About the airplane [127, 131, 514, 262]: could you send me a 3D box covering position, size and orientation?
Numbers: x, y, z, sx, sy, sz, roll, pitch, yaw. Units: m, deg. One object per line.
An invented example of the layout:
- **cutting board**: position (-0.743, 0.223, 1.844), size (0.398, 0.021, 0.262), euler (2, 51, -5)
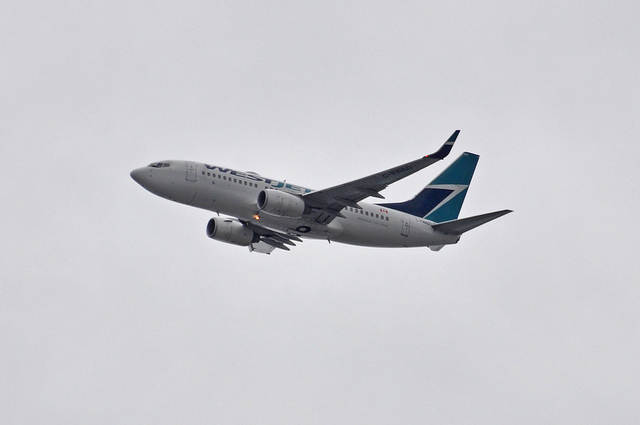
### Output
- **airplane**: position (-0.536, -0.219, 52.057), size (21.354, 6.516, 6.284), euler (0, -90, -23)
